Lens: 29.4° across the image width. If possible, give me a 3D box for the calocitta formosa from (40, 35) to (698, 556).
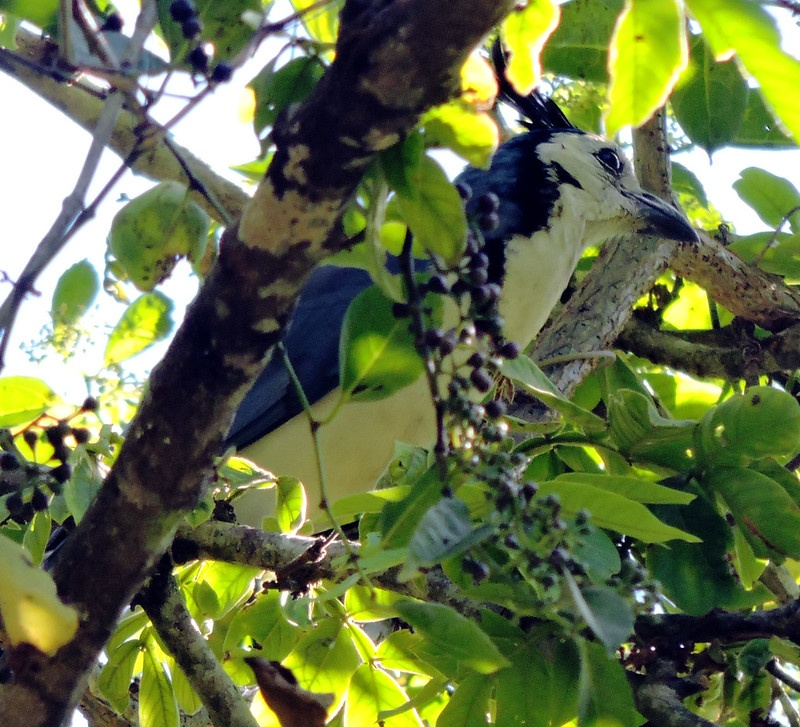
[{"bbox_3d":[-0.036,-0.069,2.086,0.873,0.596,0.289,-25,-35,-1],"label":"calocitta formosa"}]
